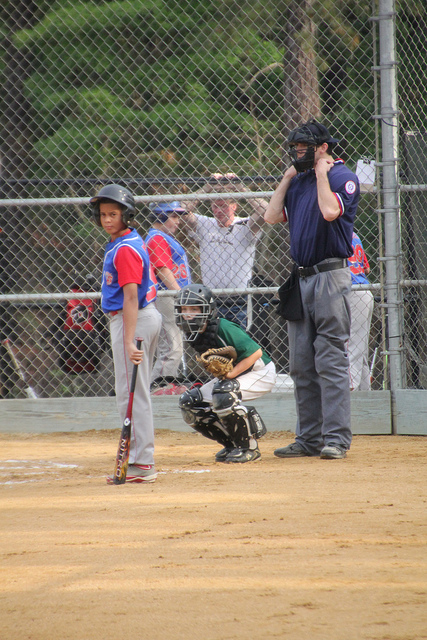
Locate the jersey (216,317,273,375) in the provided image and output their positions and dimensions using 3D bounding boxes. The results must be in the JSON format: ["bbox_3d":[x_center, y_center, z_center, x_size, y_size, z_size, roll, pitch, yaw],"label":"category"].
[{"bbox_3d":[0.127,0.133,5.241,0.279,0.279,0.254,9,10,25],"label":"jersey"}]

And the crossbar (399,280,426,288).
[{"bbox_3d":[1.366,-0.248,6.559,0.152,0.040,0.703,-2,0,15],"label":"crossbar"}]

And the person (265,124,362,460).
[{"bbox_3d":[0.547,-0.147,5.120,0.561,1.760,0.664,1,-2,-17],"label":"person"}]

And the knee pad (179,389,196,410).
[{"bbox_3d":[-0.148,0.440,5.213,0.111,0.091,0.082,12,-17,-42],"label":"knee pad"}]

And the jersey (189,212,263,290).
[{"bbox_3d":[0.059,-0.520,7.161,0.524,0.500,0.296,-2,1,14],"label":"jersey"}]

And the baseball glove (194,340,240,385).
[{"bbox_3d":[0.039,0.229,5.163,0.248,0.197,0.117,-48,-6,-49],"label":"baseball glove"}]

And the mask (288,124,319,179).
[{"bbox_3d":[0.463,-0.910,5.064,0.143,0.225,0.160,-3,1,-33],"label":"mask"}]

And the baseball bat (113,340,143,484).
[{"bbox_3d":[-0.413,0.482,4.432,0.132,0.574,0.108,-3,1,-9],"label":"baseball bat"}]

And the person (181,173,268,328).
[{"bbox_3d":[0.058,-0.344,7.142,0.804,1.352,0.470,0,-7,19],"label":"person"}]

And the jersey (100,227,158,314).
[{"bbox_3d":[-0.408,-0.243,4.538,0.254,0.374,0.361,-2,0,-4],"label":"jersey"}]

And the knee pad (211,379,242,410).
[{"bbox_3d":[0.064,0.383,5.029,0.140,0.134,0.172,-6,-11,35],"label":"knee pad"}]

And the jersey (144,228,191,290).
[{"bbox_3d":[-0.344,-0.485,7.100,0.325,0.504,0.293,5,10,-4],"label":"jersey"}]
